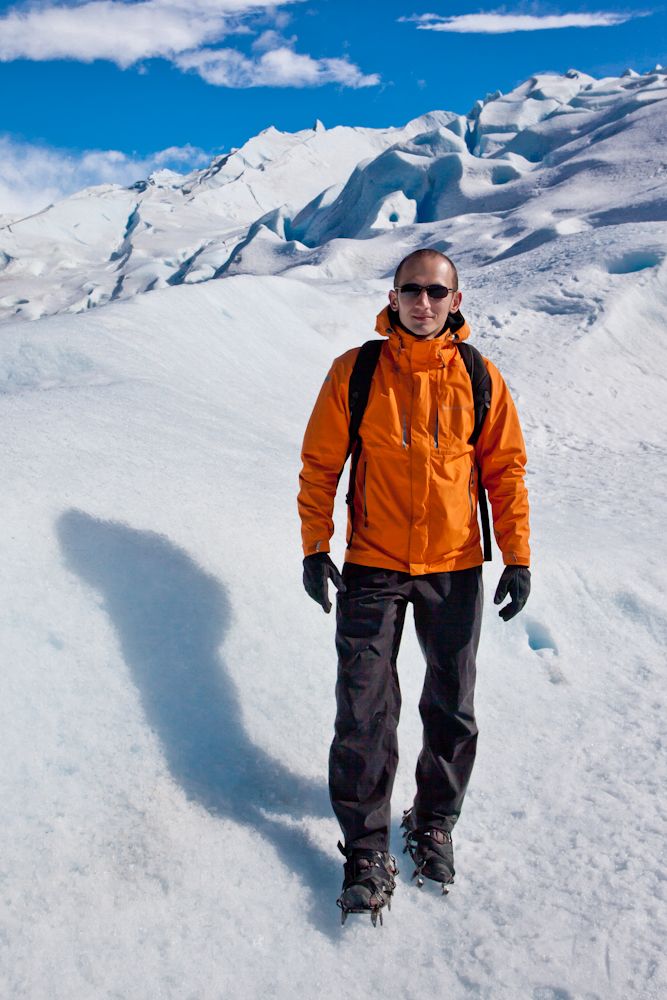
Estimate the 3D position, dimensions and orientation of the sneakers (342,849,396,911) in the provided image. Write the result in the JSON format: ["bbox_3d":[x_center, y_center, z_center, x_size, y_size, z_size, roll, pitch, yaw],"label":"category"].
[{"bbox_3d":[0.099,1.100,2.761,0.148,0.105,0.182,6,29,5],"label":"sneakers"}]

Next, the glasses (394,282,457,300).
[{"bbox_3d":[0.268,-0.619,2.819,0.153,0.042,0.056,7,30,7],"label":"glasses"}]

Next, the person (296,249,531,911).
[{"bbox_3d":[0.246,0.231,2.861,0.708,1.728,1.058,2,31,-2],"label":"person"}]

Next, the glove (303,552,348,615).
[{"bbox_3d":[0.004,0.244,2.873,0.077,0.136,0.169,-12,61,-40],"label":"glove"}]
